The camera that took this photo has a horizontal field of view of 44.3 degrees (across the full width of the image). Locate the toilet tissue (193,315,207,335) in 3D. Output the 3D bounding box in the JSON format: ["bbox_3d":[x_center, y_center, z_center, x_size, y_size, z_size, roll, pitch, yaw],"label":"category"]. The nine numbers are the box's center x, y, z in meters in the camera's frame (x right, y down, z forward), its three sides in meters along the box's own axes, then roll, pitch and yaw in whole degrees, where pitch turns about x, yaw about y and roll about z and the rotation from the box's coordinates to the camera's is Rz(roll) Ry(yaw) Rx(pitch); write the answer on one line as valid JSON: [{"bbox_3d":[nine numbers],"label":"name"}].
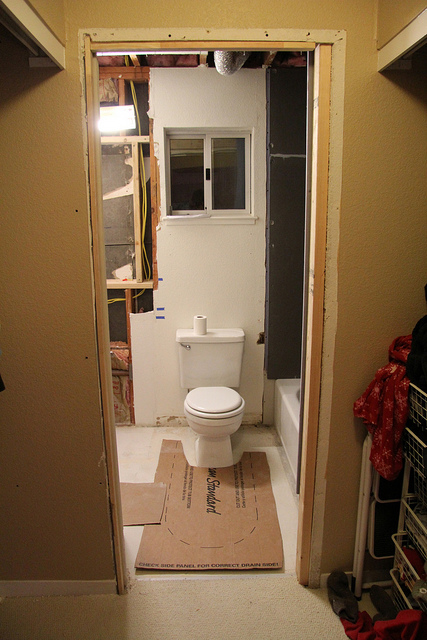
[{"bbox_3d":[-0.078,0.036,3.081,0.084,0.103,0.094,0,9,3],"label":"toilet tissue"}]

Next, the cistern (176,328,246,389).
[{"bbox_3d":[-0.016,0.222,3.204,0.427,0.321,0.249,-1,13,-1],"label":"cistern"}]

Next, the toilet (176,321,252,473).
[{"bbox_3d":[-0.005,0.419,2.981,0.445,0.730,0.756,0,14,4],"label":"toilet"}]
